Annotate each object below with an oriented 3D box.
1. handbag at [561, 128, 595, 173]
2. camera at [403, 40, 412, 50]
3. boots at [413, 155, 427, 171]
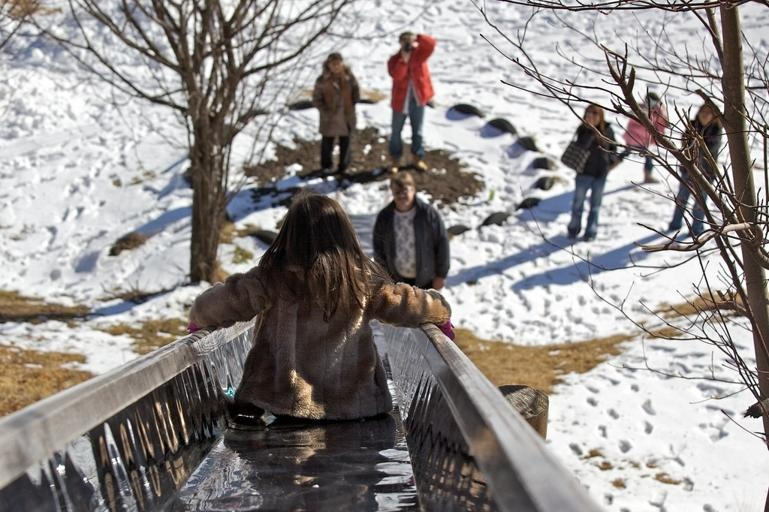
[{"bbox_3d":[3.443,-1.821,12.836,0.583,0.731,0.266,4,12,43],"label":"handbag"},{"bbox_3d":[0.383,-3.606,12.393,0.158,0.140,0.142,-4,9,-1],"label":"camera"},{"bbox_3d":[0.718,-1.884,14.869,0.334,0.343,0.205,12,48,10],"label":"boots"}]
